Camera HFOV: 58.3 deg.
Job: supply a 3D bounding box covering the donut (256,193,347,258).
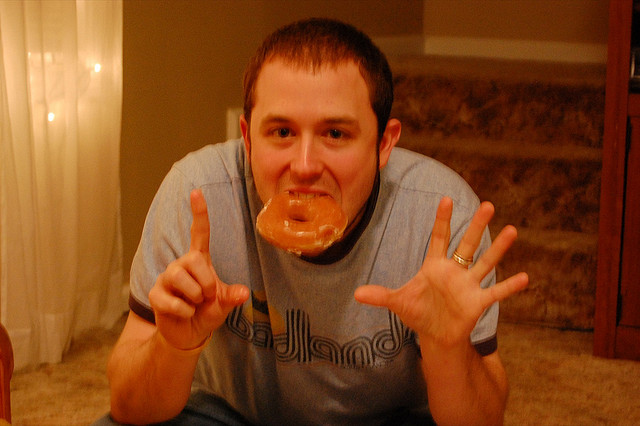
[{"bbox_3d":[-0.083,0.056,2.737,0.402,0.172,0.461,0,31,-5],"label":"donut"}]
